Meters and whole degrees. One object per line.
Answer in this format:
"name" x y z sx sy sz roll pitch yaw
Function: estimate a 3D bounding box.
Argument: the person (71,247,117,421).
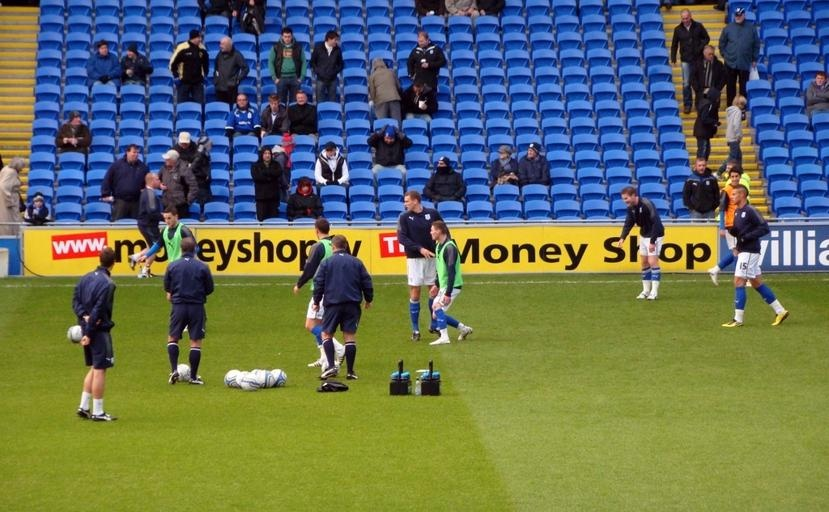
"person" -7.014 1.720 32.463 1.176 3.361 1.314 2 -2 8

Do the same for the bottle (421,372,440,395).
"bottle" 0.369 2.881 33.385 0.452 0.555 0.246 -2 12 -1

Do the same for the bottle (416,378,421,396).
"bottle" 0.085 2.996 33.359 0.137 0.338 0.113 -3 12 -4

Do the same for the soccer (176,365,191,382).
"soccer" -5.445 2.747 34.311 0.374 0.329 0.340 0 6 9

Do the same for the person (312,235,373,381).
"person" -1.736 1.203 34.389 1.636 3.411 0.965 1 -7 -14

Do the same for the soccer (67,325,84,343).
"soccer" -7.579 1.725 32.128 0.448 0.393 0.418 6 -10 -24
